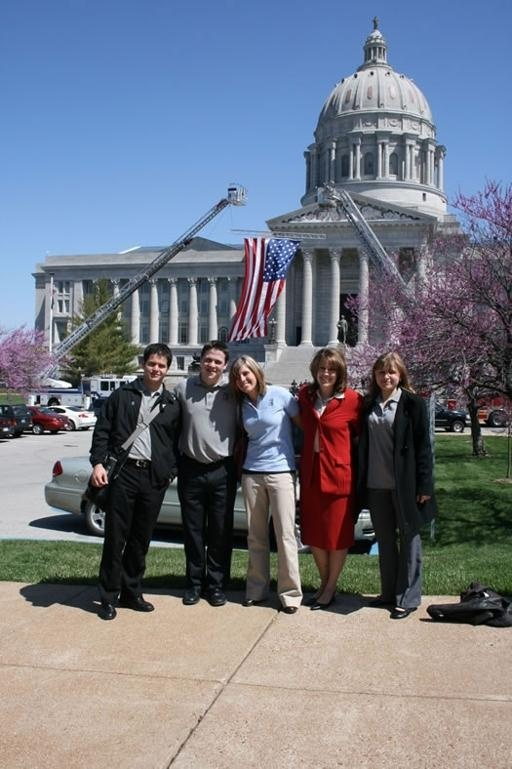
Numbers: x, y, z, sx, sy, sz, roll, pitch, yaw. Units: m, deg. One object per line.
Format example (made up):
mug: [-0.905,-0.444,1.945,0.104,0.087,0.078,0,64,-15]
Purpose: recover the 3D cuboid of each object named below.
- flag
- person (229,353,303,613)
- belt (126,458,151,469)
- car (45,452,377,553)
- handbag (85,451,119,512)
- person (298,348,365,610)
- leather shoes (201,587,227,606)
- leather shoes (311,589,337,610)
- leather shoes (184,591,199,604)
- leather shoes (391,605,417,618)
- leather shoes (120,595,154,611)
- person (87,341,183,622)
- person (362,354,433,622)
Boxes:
flag: [0.329,-5.536,45.389,3.239,6.082,3.994,0,0,-6]
person: [0.075,0.683,5.715,0.507,1.757,0.493,0,-1,2]
belt: [-0.791,0.543,5.543,0.109,0.042,0.086,13,-7,8]
car: [-0.794,1.486,10.415,3.896,1.083,1.654,0,-4,15]
handbag: [-1.065,0.671,5.547,0.225,0.372,0.101,21,2,-30]
person: [0.500,0.645,5.698,0.448,1.824,0.373,0,-1,15]
leather shoes: [-0.282,1.505,5.729,0.076,0.080,0.199,1,-9,-21]
leather shoes: [0.481,1.540,5.712,0.070,0.086,0.208,-12,-20,35]
leather shoes: [-0.444,1.492,5.680,0.114,0.076,0.142,0,0,-3]
leather shoes: [0.986,1.530,5.436,0.064,0.061,0.175,-10,-15,44]
leather shoes: [-0.809,1.502,5.595,0.269,0.104,0.088,-1,-2,17]
person: [-0.821,0.632,5.621,0.649,1.837,0.467,0,-1,-19]
person: [0.965,0.671,5.617,0.492,1.792,0.494,0,-1,20]
